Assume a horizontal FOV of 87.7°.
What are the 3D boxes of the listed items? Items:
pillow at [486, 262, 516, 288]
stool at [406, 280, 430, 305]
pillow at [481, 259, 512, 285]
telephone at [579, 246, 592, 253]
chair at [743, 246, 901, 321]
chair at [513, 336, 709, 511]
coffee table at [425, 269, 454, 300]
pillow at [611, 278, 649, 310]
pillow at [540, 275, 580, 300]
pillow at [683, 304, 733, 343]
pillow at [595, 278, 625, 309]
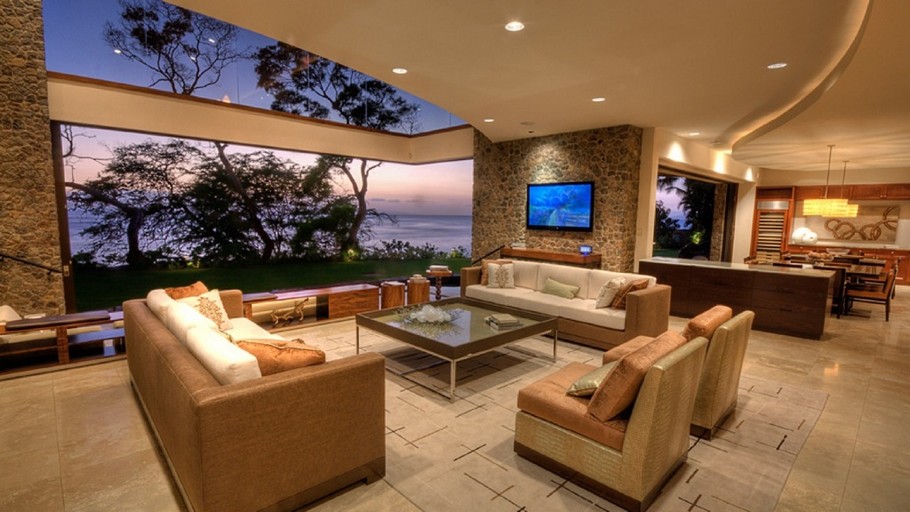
[{"bbox_3d":[0.902,0.422,9.570,0.598,0.464,0.198,1,-5,1],"label":"pillow"},{"bbox_3d":[-0.772,0.787,9.874,0.576,0.532,0.519,0,0,-12],"label":"stool"},{"bbox_3d":[0.872,0.362,9.532,0.584,0.473,0.224,2,-14,6],"label":"pillow"},{"bbox_3d":[2.926,-0.124,10.607,0.297,0.138,0.214,6,-3,33],"label":"telephone"},{"bbox_3d":[8.586,0.701,10.462,1.679,1.220,2.542,3,7,37],"label":"chair"},{"bbox_3d":[1.951,1.938,6.560,2.263,1.955,2.326,-6,10,-42],"label":"chair"},{"bbox_3d":[-0.340,0.603,10.852,0.808,0.747,0.751,0,10,8],"label":"coffee table"},{"bbox_3d":[2.992,0.670,8.069,0.630,0.511,0.407,0,6,14],"label":"pillow"},{"bbox_3d":[1.980,0.652,8.950,0.839,0.286,0.338,10,35,37],"label":"pillow"},{"bbox_3d":[3.374,0.912,6.291,0.867,0.360,0.330,-6,7,-42],"label":"pillow"},{"bbox_3d":[2.720,0.677,8.238,0.328,0.454,0.603,4,2,42],"label":"pillow"}]
